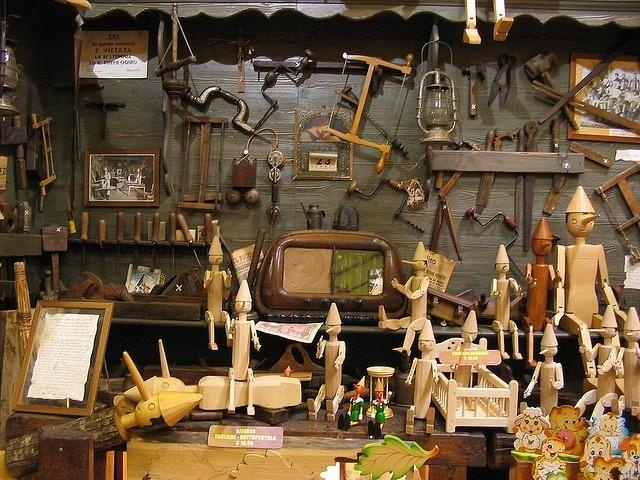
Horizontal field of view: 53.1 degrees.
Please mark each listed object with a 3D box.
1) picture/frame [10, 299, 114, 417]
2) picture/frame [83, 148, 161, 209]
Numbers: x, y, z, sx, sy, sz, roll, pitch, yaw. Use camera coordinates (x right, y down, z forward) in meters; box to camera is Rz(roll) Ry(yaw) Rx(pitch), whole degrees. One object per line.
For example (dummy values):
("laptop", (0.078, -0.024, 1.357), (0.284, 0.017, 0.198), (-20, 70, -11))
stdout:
("picture/frame", (-1.483, 0.679, 3.726), (0.487, 0.690, 0.120), (4, -1, 6))
("picture/frame", (-1.452, -0.447, 4.736), (0.565, 0.410, 0.077), (-1, 3, -4))
